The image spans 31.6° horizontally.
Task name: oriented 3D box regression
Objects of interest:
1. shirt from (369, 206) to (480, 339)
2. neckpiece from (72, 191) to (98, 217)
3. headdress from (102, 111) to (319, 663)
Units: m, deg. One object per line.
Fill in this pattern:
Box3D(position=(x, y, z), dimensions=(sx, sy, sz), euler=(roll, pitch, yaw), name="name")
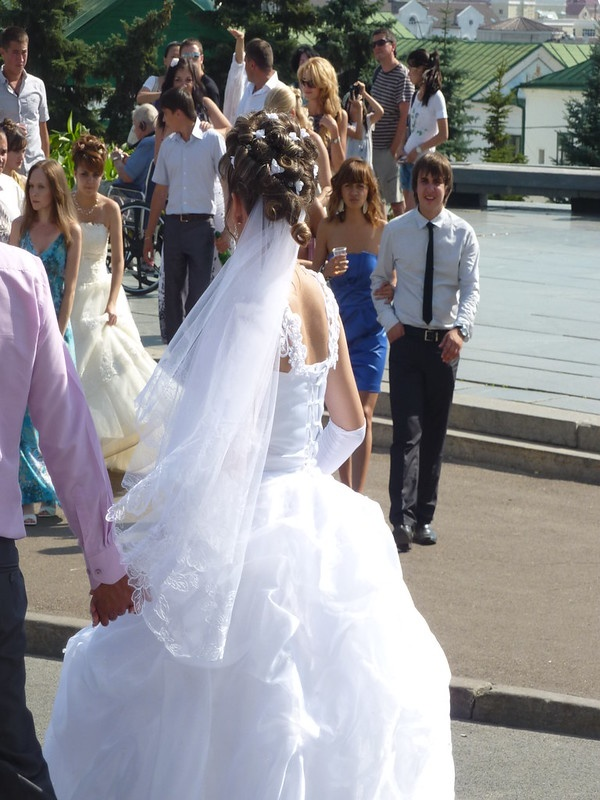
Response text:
Box3D(position=(0.667, -0.689, 5.663), dimensions=(0.547, 0.681, 0.377), euler=(3, 19, 6), name="shirt")
Box3D(position=(-1.406, -1.269, 6.882), dimensions=(0.122, 0.190, 0.053), euler=(-2, -5, 4), name="neckpiece")
Box3D(position=(-0.242, -0.056, 2.668), dimensions=(0.440, 1.284, 0.588), euler=(3, 12, 16), name="headdress")
